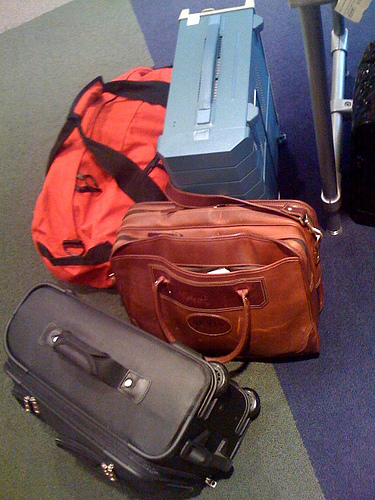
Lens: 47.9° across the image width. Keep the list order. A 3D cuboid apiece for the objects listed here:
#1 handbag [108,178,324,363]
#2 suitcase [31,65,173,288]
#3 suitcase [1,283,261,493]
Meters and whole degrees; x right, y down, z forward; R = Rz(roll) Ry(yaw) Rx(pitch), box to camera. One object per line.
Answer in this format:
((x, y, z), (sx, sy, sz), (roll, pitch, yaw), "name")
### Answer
((0.057, 0.051, 0.942), (0.487, 0.375, 0.264), (-2, 30, 16), "handbag")
((-0.209, -0.281, 1.404), (0.506, 0.342, 0.899), (6, 49, 6), "suitcase")
((-0.114, 0.315, 0.873), (0.440, 0.478, 0.285), (6, 55, 29), "suitcase")
